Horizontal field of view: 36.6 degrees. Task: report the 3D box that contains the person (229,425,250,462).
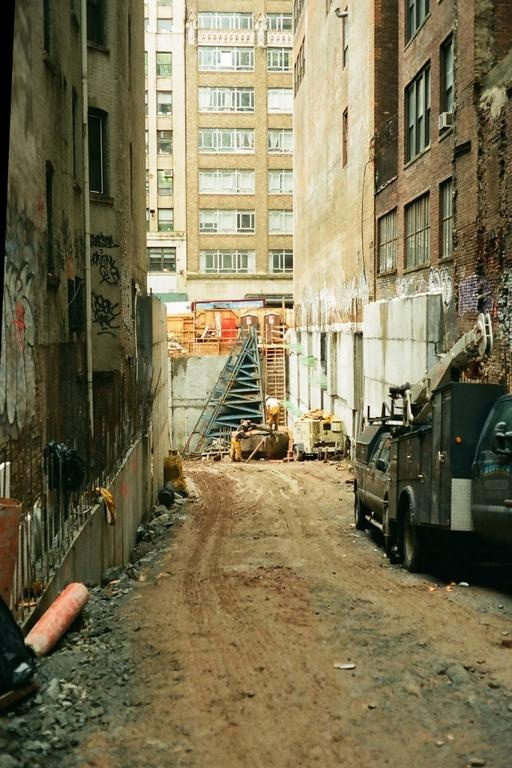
[{"bbox_3d":[-0.676,2.429,32.534,0.690,1.568,1.409,2,-2,10],"label":"person"}]
